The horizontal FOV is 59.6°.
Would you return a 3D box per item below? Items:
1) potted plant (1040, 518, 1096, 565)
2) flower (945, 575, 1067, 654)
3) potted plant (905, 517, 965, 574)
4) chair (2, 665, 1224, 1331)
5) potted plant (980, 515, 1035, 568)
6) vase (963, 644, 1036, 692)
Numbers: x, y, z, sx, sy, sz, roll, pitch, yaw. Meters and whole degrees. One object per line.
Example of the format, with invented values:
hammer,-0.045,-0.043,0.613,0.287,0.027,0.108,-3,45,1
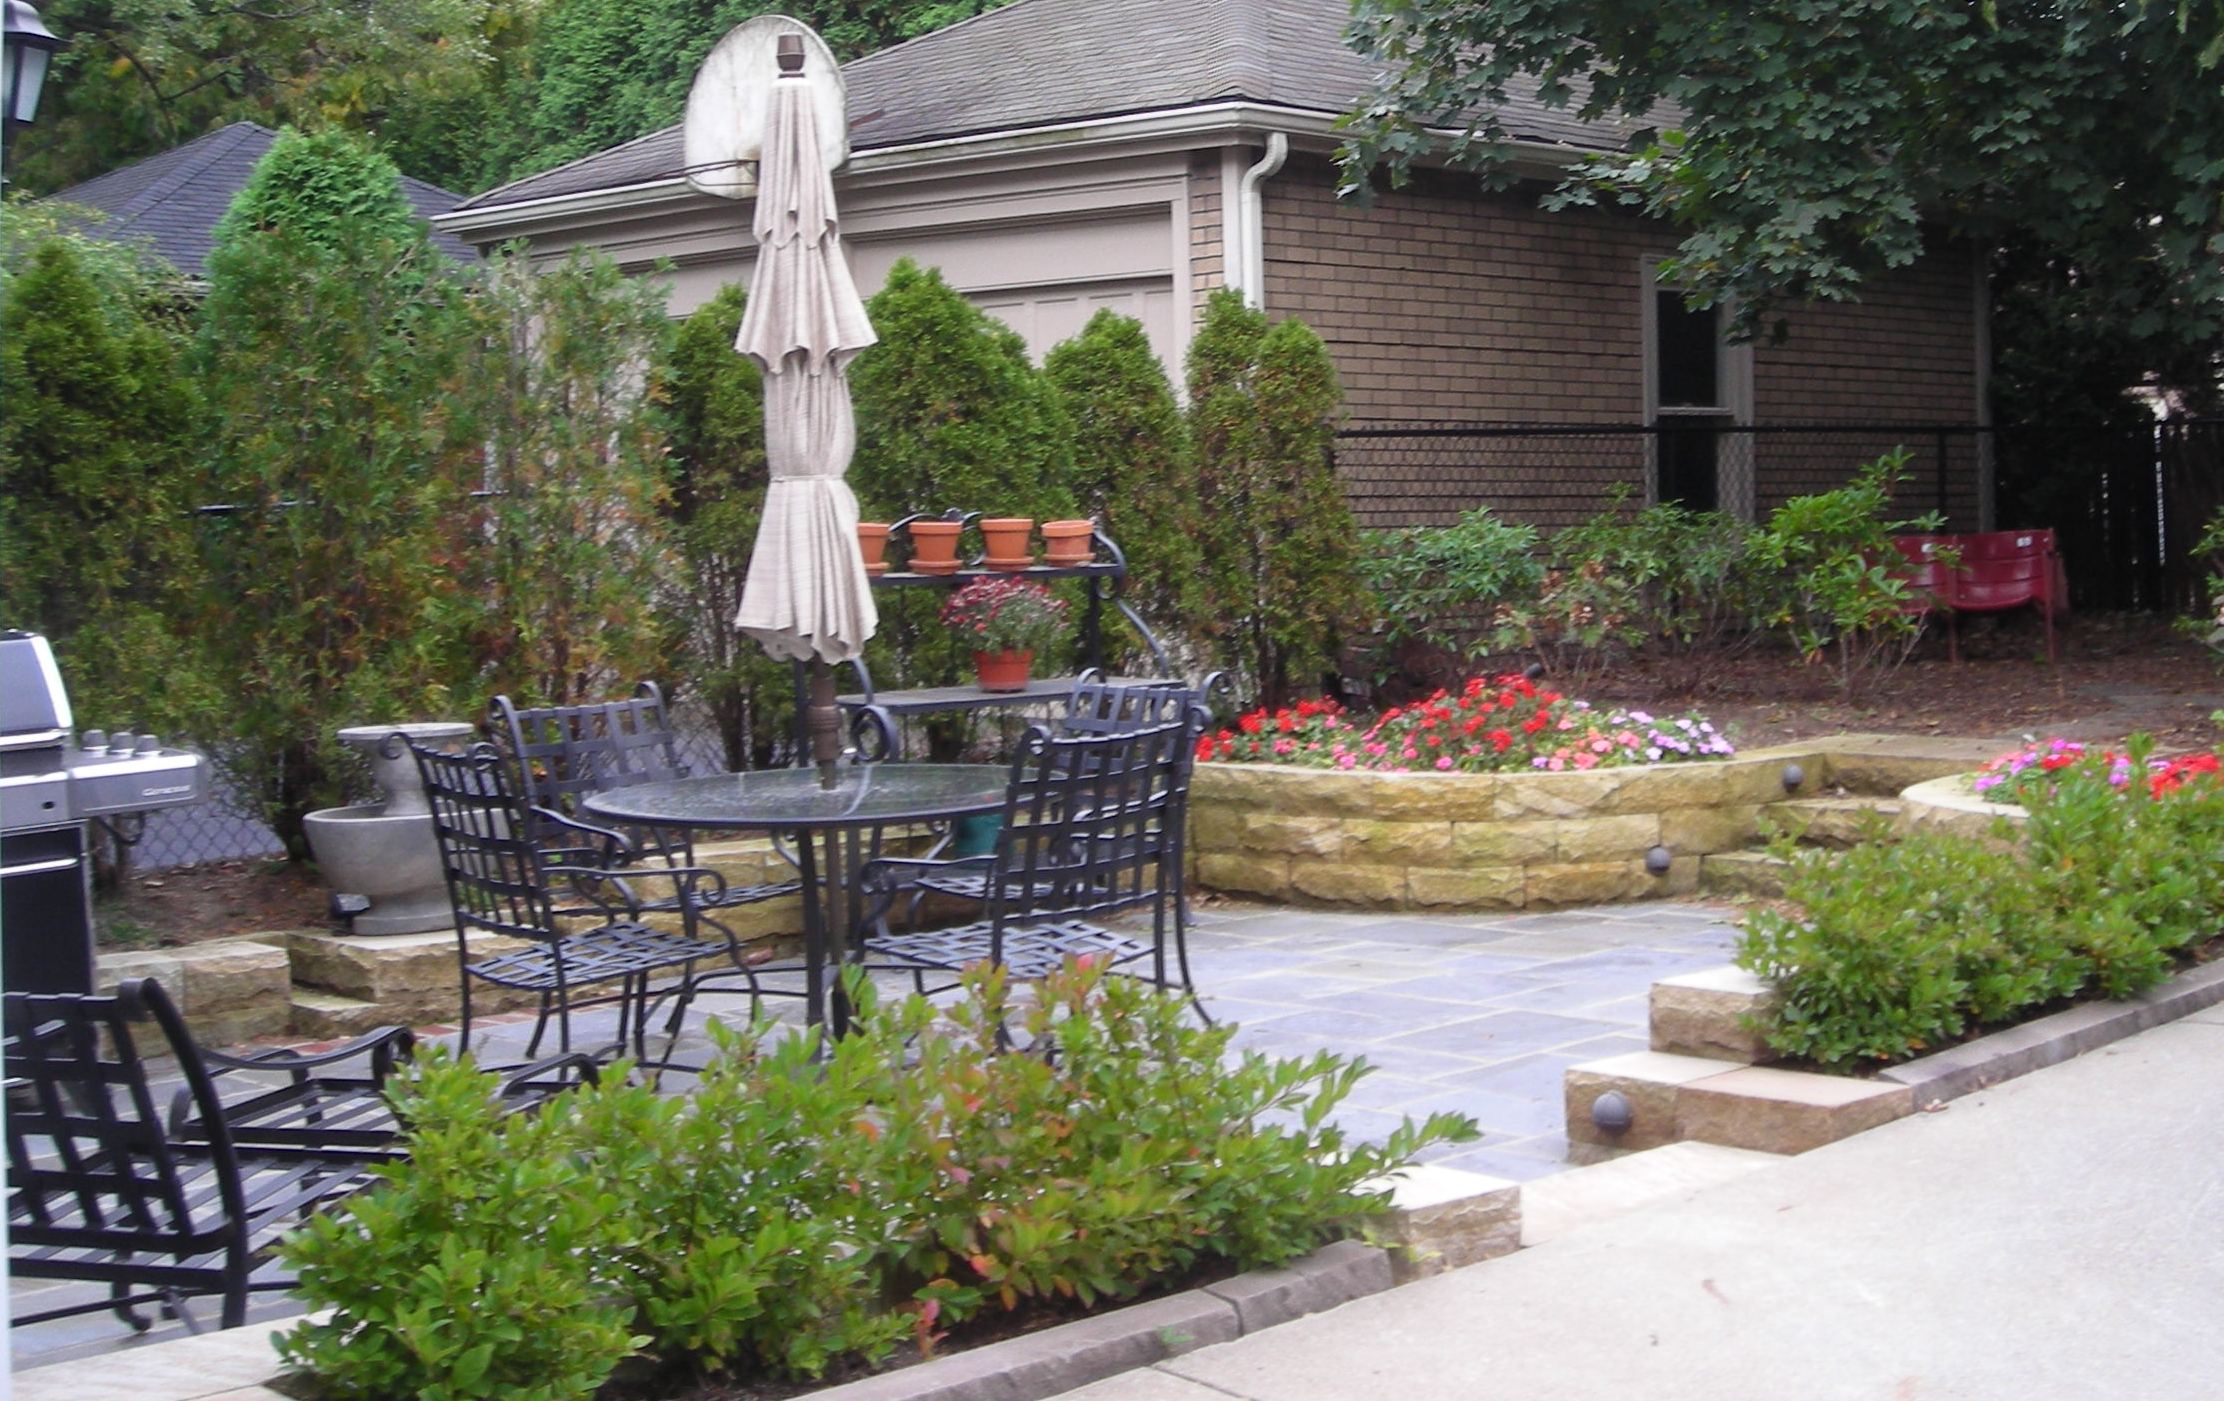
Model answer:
potted plant,-0.230,-0.845,10.390,0.270,0.182,0.255,-2,2,-4
flower,-0.556,-0.465,10.183,0.492,0.312,0.463,-3,5,-34
potted plant,-0.904,-0.803,10.132,0.305,0.230,0.304,0,1,29
chair,-1.903,1.030,6.763,2.120,1.798,3.834,3,7,42
potted plant,-0.555,-0.840,10.319,0.304,0.226,0.281,0,-1,-6
vase,-0.569,-0.165,10.203,0.267,0.170,0.250,0,-3,2
